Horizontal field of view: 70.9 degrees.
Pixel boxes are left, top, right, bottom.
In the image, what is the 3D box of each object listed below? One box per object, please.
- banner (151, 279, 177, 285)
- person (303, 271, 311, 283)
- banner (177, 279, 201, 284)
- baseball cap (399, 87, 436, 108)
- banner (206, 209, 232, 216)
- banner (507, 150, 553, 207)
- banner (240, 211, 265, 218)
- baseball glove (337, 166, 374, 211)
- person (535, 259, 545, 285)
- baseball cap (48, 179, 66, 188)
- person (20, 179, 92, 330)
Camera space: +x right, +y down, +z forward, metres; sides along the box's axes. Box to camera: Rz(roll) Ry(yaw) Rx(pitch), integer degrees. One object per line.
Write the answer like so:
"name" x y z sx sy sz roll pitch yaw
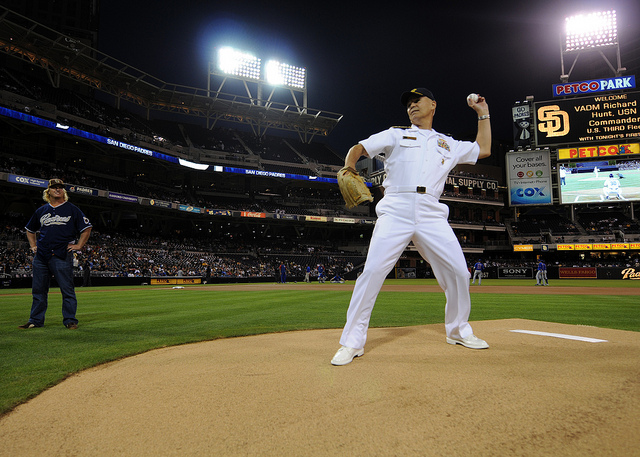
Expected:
"banner" -9.221 3.196 26.764 0.348 0.300 1.702 -5 -7 29
"person" -0.910 3.564 32.424 0.293 0.304 1.016 -4 5 5
"banner" -8.183 3.376 28.323 0.491 0.304 1.749 -4 -6 22
"baseball cap" 1.144 -1.606 5.333 0.358 0.209 0.414 -3 -6 12
"banner" -8.133 -1.289 36.409 2.373 0.344 0.487 5 -10 -13
"banner" 14.375 -3.480 30.960 3.714 5.371 0.559 -1 1 17
"banner" -5.659 -1.159 37.613 1.956 0.527 0.362 0 -6 -11
"baseball glove" 0.403 -0.456 5.166 0.384 0.505 0.530 0 -6 -9
"person" 10.914 2.206 22.372 0.350 1.235 1.682 -4 -6 25
"baseball cap" -4.165 -0.711 7.126 0.193 0.124 0.212 2 -7 -29
"person" -4.162 0.398 7.166 1.099 2.398 0.645 -5 -6 31
